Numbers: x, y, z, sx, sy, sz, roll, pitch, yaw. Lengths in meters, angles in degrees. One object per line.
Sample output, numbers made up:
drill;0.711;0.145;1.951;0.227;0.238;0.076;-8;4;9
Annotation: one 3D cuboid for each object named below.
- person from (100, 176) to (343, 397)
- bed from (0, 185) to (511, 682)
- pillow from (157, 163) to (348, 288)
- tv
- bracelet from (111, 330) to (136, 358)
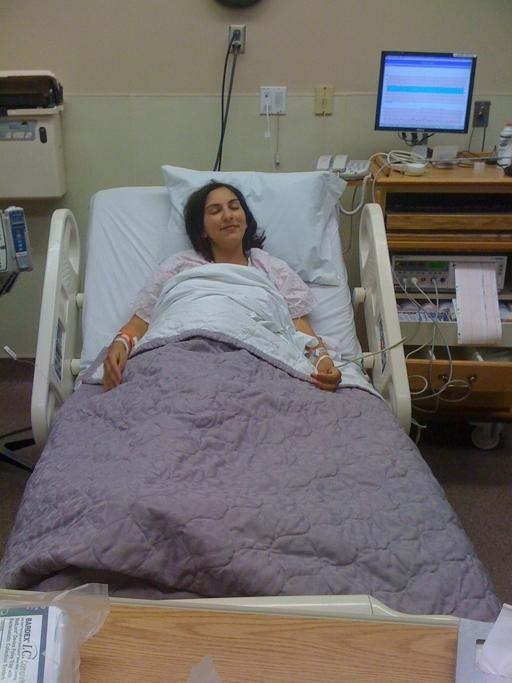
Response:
person;-0.062;-0.218;1.735;0.757;0.392;1.029;0;22;-15
bed;-0.024;0.032;1.190;0.501;0.362;0.949;0;25;0
pillow;0.037;-0.478;2.136;0.494;0.533;0.204;1;4;0
tv;0.660;-0.972;2.131;0.401;0.373;0.046;4;25;2
bracelet;-0.391;0.000;1.657;0.066;0.038;0.093;17;22;-24
